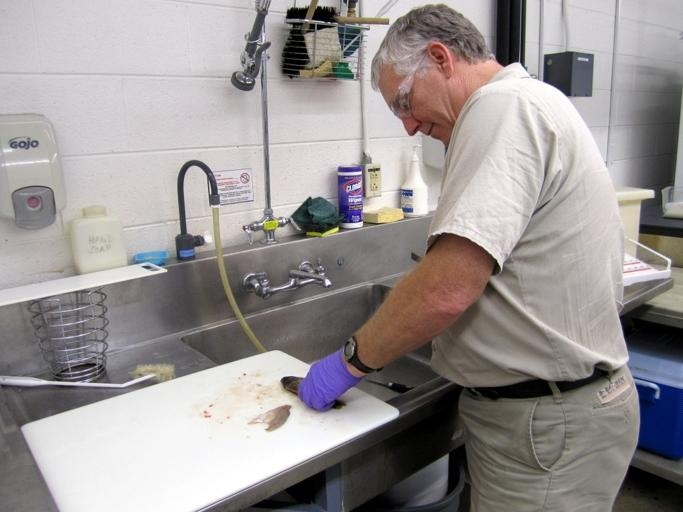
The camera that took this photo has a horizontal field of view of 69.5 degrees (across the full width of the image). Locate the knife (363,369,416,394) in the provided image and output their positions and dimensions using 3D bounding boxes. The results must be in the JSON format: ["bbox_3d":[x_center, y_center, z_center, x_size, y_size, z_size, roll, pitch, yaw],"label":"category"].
[{"bbox_3d":[0.160,0.422,1.670,0.082,0.037,0.127,-4,13,-41],"label":"knife"}]

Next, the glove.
[{"bbox_3d":[-0.040,0.298,1.166,0.168,0.105,0.062,-40,-25,24],"label":"glove"}]

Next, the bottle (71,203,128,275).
[{"bbox_3d":[-0.757,-0.046,1.525,0.179,0.258,0.095,-12,6,-36],"label":"bottle"}]

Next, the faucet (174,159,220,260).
[{"bbox_3d":[-0.500,-0.160,1.668,0.155,0.321,0.238,-9,14,-19],"label":"faucet"}]

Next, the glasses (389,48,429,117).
[{"bbox_3d":[0.157,-0.415,1.201,0.050,0.107,0.078,21,27,19],"label":"glasses"}]
